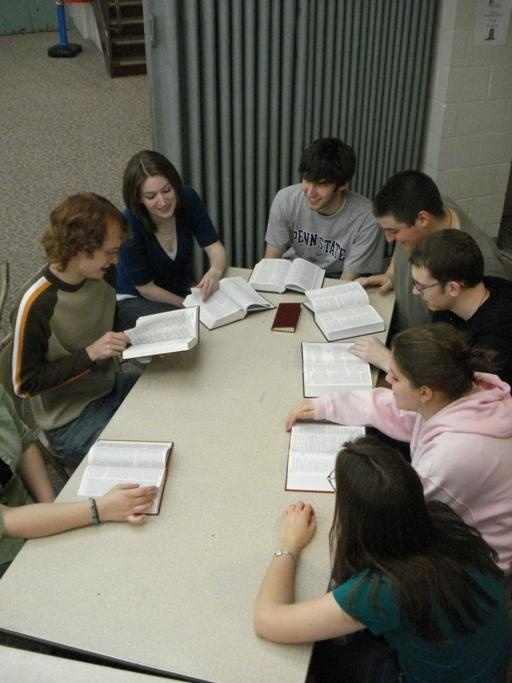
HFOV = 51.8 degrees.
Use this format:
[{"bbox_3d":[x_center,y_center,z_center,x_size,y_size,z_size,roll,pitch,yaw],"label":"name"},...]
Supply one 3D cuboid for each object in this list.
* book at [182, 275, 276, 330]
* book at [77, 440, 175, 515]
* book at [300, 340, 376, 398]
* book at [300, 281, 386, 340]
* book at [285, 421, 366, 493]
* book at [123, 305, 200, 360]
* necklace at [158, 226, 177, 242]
[{"bbox_3d":[-0.116,-0.168,2.139,0.275,0.075,0.237,-21,43,-24],"label":"book"},{"bbox_3d":[-0.334,0.318,1.358,0.166,0.037,0.161,3,46,5],"label":"book"},{"bbox_3d":[0.266,0.096,1.763,0.164,0.037,0.216,-3,36,-2],"label":"book"},{"bbox_3d":[0.348,-0.116,2.052,0.214,0.077,0.279,-10,40,-8],"label":"book"},{"bbox_3d":[0.178,0.317,1.405,0.192,0.022,0.281,4,35,8],"label":"book"},{"bbox_3d":[-0.315,0.000,1.815,0.212,0.086,0.219,-7,32,19],"label":"book"},{"bbox_3d":[-0.415,-0.507,2.475,0.077,0.067,0.017,-6,24,-36],"label":"necklace"}]
